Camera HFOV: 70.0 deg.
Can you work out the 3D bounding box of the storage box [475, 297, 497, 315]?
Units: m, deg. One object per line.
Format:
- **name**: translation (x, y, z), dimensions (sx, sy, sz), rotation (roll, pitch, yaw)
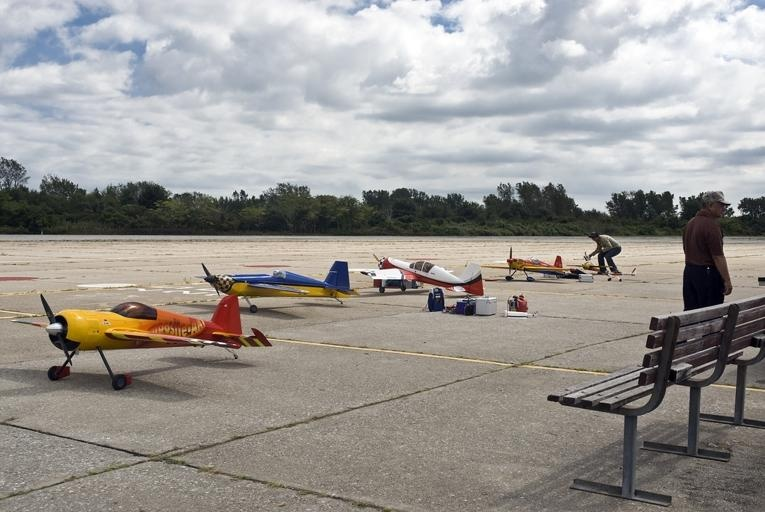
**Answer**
- **storage box**: translation (2.484, 1.293, 13.846), dimensions (0.505, 0.382, 0.686), rotation (-20, -6, 26)
